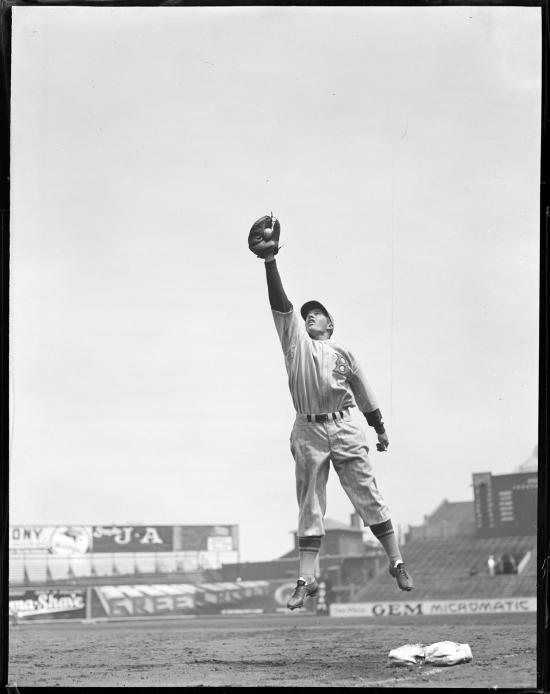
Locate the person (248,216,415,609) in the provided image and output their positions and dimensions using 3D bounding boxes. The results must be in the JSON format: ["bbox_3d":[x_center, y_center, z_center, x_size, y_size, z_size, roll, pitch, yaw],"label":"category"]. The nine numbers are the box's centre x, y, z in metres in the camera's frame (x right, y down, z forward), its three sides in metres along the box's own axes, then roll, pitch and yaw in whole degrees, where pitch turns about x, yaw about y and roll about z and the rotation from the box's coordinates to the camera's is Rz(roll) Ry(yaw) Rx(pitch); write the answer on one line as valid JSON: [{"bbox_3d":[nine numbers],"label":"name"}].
[{"bbox_3d":[0.164,0.254,5.974,0.530,1.328,0.340,9,-39,-12],"label":"person"}]

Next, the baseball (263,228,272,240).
[{"bbox_3d":[-0.021,-0.375,5.943,0.024,0.034,0.036,2,-29,-2],"label":"baseball"}]
